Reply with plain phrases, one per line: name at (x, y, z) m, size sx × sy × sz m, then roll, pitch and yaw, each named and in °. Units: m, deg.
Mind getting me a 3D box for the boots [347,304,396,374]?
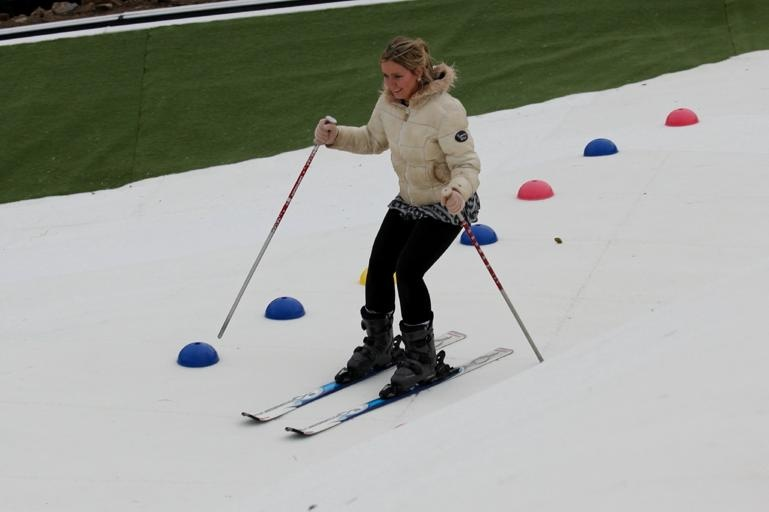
boots at (-0.089, 0.580, 8.169) m, size 0.460 × 0.408 × 0.203 m, roll -14°, pitch 24°, yaw -42°
